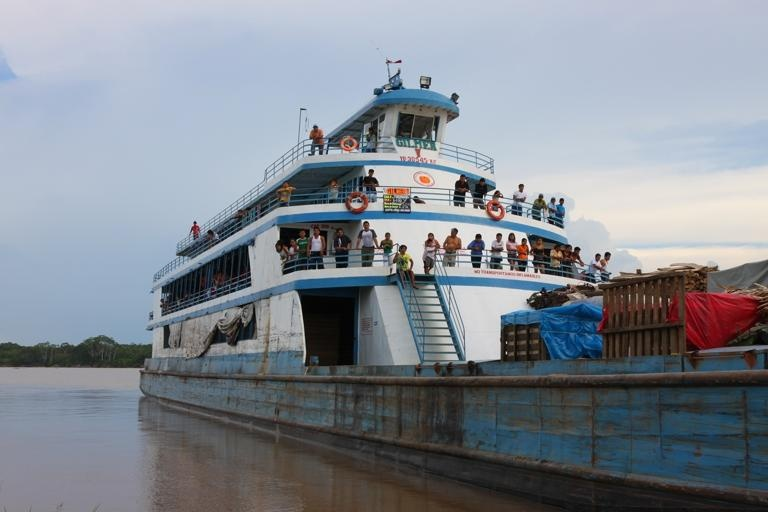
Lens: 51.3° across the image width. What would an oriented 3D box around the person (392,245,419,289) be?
[{"bbox_3d":[0.588,0.283,22.240,0.553,1.267,0.509,-2,-12,-1],"label":"person"}]
